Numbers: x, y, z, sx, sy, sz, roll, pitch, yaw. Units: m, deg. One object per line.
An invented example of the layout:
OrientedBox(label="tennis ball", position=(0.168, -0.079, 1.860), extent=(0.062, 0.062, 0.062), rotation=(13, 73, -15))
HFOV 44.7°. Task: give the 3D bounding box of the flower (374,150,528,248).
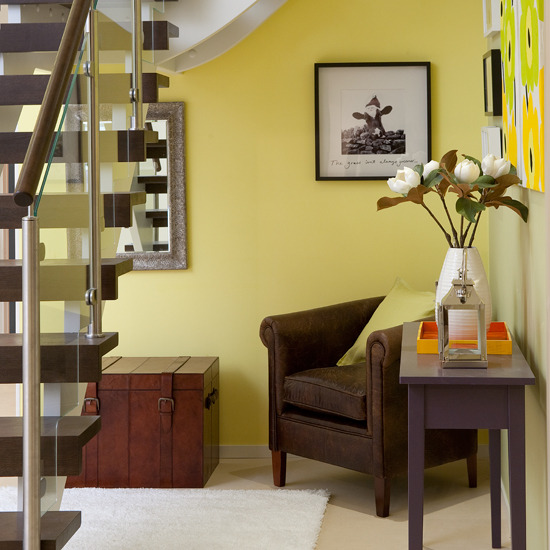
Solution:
OrientedBox(label="flower", position=(0.584, -0.189, 2.315), extent=(0.301, 0.475, 0.461), rotation=(-1, -10, -18))

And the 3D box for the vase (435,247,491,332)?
OrientedBox(label="vase", position=(0.633, 0.031, 2.299), extent=(0.159, 0.249, 0.153), rotation=(31, -34, -30))

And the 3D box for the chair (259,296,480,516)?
OrientedBox(label="chair", position=(0.456, 0.565, 3.529), extent=(0.848, 1.141, 0.946), rotation=(-3, -4, 41))

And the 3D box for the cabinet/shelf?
OrientedBox(label="cabinet/shelf", position=(-0.636, 0.774, 3.416), extent=(0.676, 0.607, 0.746), rotation=(-1, 0, 3))

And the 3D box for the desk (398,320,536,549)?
OrientedBox(label="desk", position=(0.667, 0.566, 2.336), extent=(0.280, 0.615, 0.878), rotation=(0, -1, 9))
